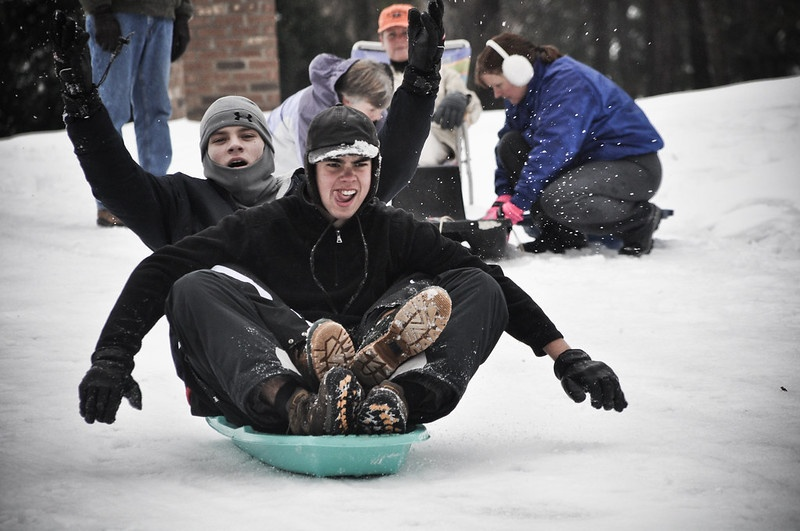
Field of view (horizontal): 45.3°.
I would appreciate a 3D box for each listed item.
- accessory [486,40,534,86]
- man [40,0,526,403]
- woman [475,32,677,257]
[{"bbox_3d":[0.611,-1.135,5.436,0.235,0.063,0.171,44,15,20],"label":"accessory"},{"bbox_3d":[-0.517,-0.499,3.933,1.706,1.665,0.938,-3,-21,-26],"label":"man"},{"bbox_3d":[0.897,-0.630,5.979,1.277,1.406,1.075,1,-4,1],"label":"woman"}]
